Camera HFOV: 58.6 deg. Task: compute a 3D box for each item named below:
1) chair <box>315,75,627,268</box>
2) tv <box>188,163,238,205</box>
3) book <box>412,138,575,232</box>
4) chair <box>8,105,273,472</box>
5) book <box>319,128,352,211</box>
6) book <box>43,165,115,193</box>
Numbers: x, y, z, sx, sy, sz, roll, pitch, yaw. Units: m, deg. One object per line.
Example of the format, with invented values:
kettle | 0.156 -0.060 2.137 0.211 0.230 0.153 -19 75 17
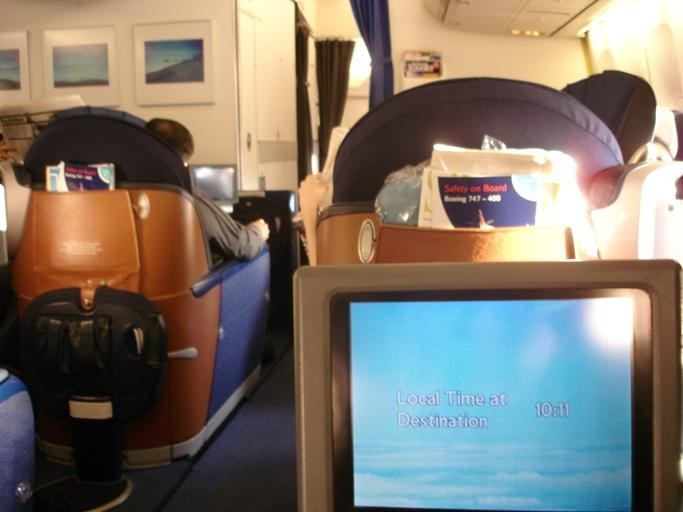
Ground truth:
chair | 0.344 -0.375 1.861 0.477 0.653 0.641 8 22 -3
tv | -0.734 -0.408 3.489 0.326 0.345 0.183 -1 -2 -3
book | 0.358 -0.149 1.358 0.252 0.218 0.095 2 -5 0
chair | -0.760 0.106 2.613 0.790 1.320 1.275 0 5 6
book | -0.035 -0.278 1.942 0.087 0.241 0.170 7 9 9
book | -0.872 -0.260 2.026 0.224 0.093 0.072 -1 5 -13
